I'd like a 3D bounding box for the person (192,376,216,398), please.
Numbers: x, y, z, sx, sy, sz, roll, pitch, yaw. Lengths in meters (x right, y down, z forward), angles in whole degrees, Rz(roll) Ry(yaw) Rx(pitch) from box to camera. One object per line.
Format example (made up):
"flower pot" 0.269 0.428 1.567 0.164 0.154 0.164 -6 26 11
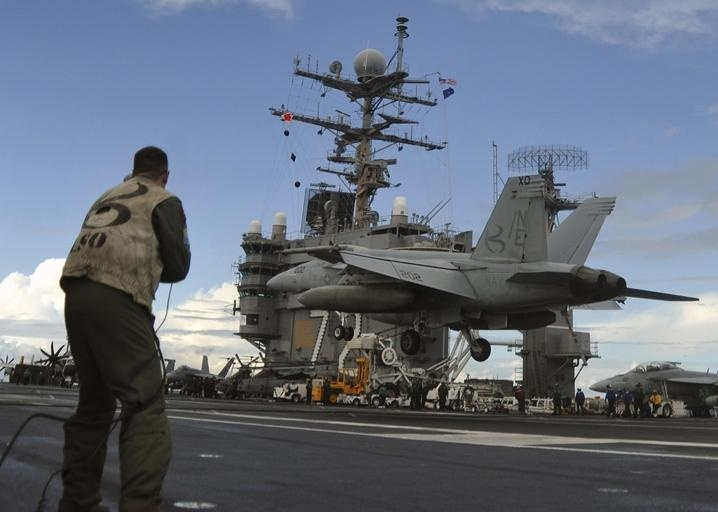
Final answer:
"person" -9.299 7.983 40.737 1.163 0.551 1.549 1 4 -9

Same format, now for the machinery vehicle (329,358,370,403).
"machinery vehicle" -0.369 5.848 31.184 2.907 1.722 0.917 -15 -16 40
